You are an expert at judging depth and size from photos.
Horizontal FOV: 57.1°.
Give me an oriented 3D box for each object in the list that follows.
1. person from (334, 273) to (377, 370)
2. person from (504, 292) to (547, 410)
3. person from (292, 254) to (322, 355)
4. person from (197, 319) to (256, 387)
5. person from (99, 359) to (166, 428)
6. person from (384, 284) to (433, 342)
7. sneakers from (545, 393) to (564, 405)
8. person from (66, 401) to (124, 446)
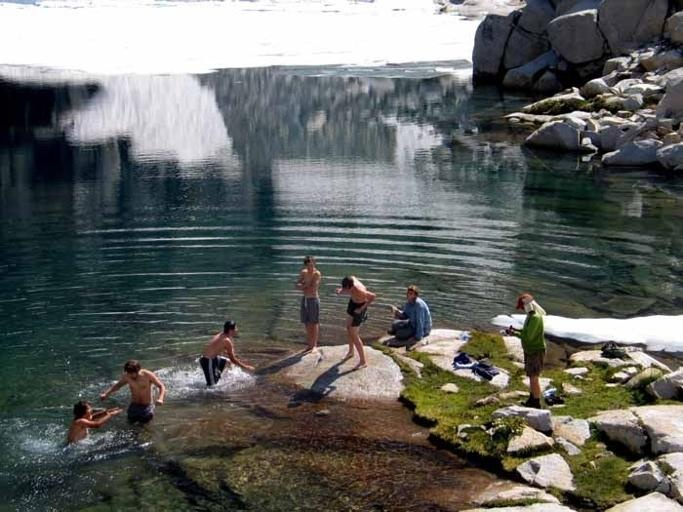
[{"bbox_3d":[0.551,2.145,20.793,1.064,3.065,0.912,-4,7,-5],"label":"person"},{"bbox_3d":[5.639,2.801,18.563,0.768,3.397,0.876,-2,7,15],"label":"person"},{"bbox_3d":[-1.091,1.651,21.732,0.751,3.401,1.344,-4,7,-4],"label":"person"},{"bbox_3d":[-3.927,3.404,21.392,1.674,2.179,1.076,-2,41,-29],"label":"person"},{"bbox_3d":[-6.095,4.054,18.795,1.626,1.922,0.565,-2,7,10],"label":"person"},{"bbox_3d":[2.511,2.115,22.858,1.359,2.079,0.871,-2,7,12],"label":"person"},{"bbox_3d":[6.432,4.353,18.900,0.311,0.154,0.391,1,4,13],"label":"sneakers"},{"bbox_3d":[-7.299,4.770,18.246,1.309,1.186,1.226,0,7,30],"label":"person"}]
